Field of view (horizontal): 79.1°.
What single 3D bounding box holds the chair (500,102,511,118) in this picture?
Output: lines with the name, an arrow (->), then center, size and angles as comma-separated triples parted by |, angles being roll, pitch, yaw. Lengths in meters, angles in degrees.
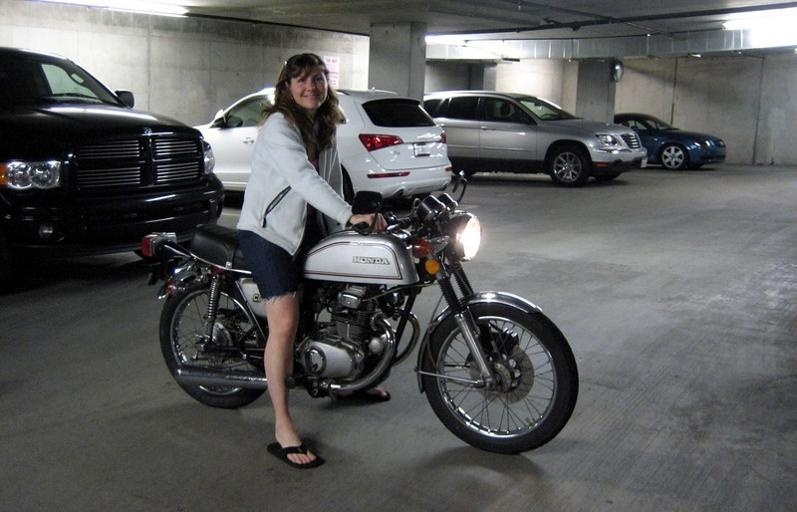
chair -> 3.224, -4.457, 14.641 | 0.402, 0.590, 0.326 | 5, 11, 16

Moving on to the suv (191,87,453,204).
suv -> -1.701, -2.201, 10.525 | 5.737, 2.047, 2.691 | 9, 15, 25

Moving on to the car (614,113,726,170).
car -> 10.845, -4.527, 19.295 | 5.001, 1.690, 2.294 | 3, 11, 21

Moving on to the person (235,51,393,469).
person -> -0.545, 0.008, 2.848 | 0.711, 2.281, 0.840 | -8, 18, -17

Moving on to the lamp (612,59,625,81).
lamp -> 10.180, -8.725, 22.700 | 0.678, 0.977, 0.327 | -9, 19, -23

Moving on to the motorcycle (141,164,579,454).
motorcycle -> -0.359, 0.344, 3.028 | 2.903, 1.584, 1.147 | 4, 5, 14
